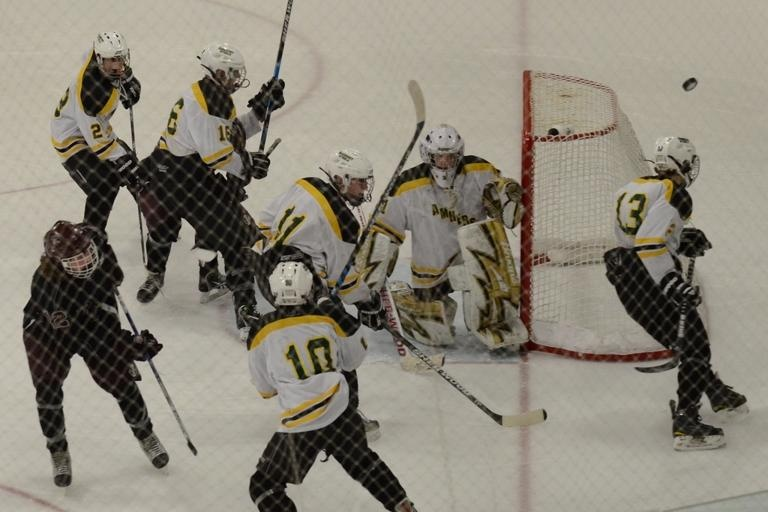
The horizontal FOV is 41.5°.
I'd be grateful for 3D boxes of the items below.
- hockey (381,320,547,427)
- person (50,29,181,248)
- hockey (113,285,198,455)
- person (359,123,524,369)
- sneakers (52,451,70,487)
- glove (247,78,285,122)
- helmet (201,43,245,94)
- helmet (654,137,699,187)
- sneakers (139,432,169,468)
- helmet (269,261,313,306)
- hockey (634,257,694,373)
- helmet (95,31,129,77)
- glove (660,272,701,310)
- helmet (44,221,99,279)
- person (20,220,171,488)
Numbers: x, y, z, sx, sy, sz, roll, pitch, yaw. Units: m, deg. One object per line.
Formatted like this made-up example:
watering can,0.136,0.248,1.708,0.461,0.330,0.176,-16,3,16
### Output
hockey,0.544,0.797,6.687,0.972,0.116,0.144,40,11,32
person,-2.031,-0.836,7.648,0.906,1.758,0.841,11,57,-3
hockey,-1.488,0.778,6.544,0.045,0.115,1.124,-28,92,7
person,0.405,-0.013,6.999,1.363,1.634,0.936,-6,27,-6
sneakers,-1.944,1.269,6.070,0.083,0.098,0.253,-1,82,-16
glove,-0.846,-1.114,7.286,0.210,0.332,0.100,31,11,-2
helmet,-1.099,-1.291,6.899,0.296,0.275,0.238,37,56,20
helmet,1.906,-0.638,6.673,0.327,0.319,0.256,-1,7,-40
sneakers,-1.402,1.179,6.151,0.125,0.050,0.250,-32,80,-13
helmet,-0.533,0.160,5.767,0.199,0.258,0.253,0,94,2
hockey,1.808,0.368,6.437,0.247,0.870,0.090,11,26,19
helmet,-1.886,-1.347,6.986,0.229,0.356,0.212,-10,54,-15
glove,1.916,0.195,6.503,0.277,0.176,0.075,53,32,9
helmet,-1.856,-0.053,6.058,0.313,0.239,0.274,26,53,12
person,-1.807,0.538,6.322,0.750,1.821,0.615,-6,26,-13
